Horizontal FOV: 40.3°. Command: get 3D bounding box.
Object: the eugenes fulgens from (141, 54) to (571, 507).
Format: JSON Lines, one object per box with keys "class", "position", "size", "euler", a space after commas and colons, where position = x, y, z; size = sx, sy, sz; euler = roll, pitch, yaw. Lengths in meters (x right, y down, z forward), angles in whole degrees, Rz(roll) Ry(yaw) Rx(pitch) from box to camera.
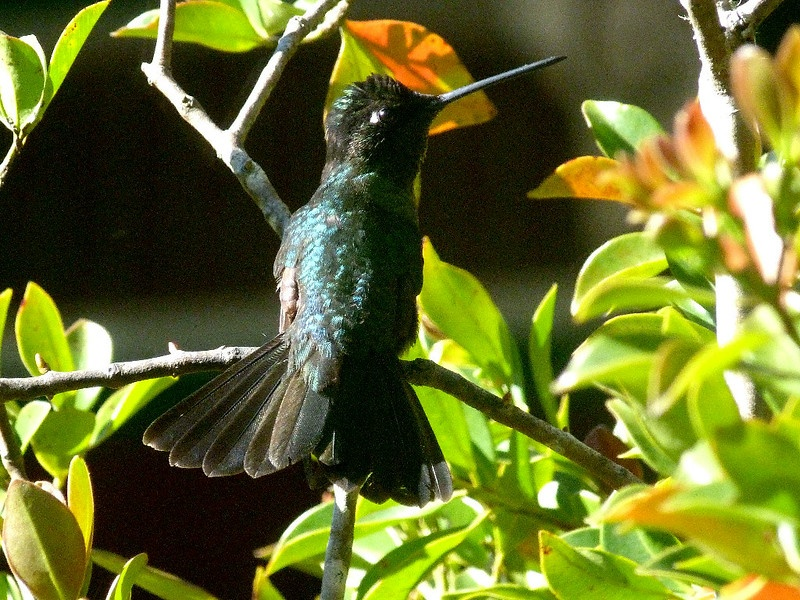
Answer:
{"class": "eugenes fulgens", "position": [-0.118, -0.160, 2.799], "size": [0.611, 1.103, 1.061], "euler": [28, -35, 20]}
